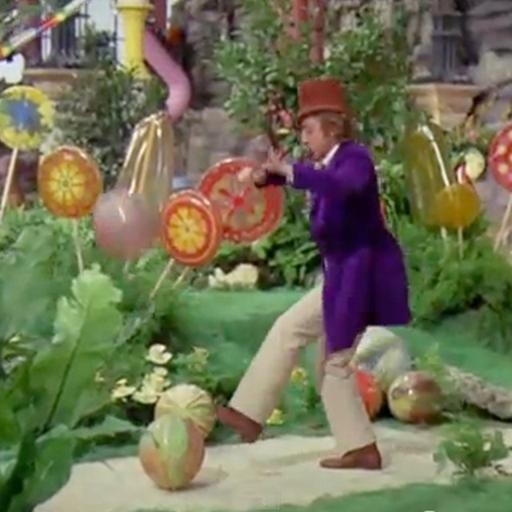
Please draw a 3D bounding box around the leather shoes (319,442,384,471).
[{"bbox_3d":[0.319,0.655,2.536,0.207,0.132,0.074,3,-1,12],"label":"leather shoes"}]

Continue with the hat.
[{"bbox_3d":[0.219,-0.526,2.602,0.169,0.134,0.192,-6,-1,8],"label":"hat"}]

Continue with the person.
[{"bbox_3d":[0.184,0.051,2.553,0.561,1.269,0.359,4,7,36],"label":"person"}]

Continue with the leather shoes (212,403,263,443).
[{"bbox_3d":[-0.062,0.567,2.605,0.171,0.084,0.042,38,17,-4],"label":"leather shoes"}]
